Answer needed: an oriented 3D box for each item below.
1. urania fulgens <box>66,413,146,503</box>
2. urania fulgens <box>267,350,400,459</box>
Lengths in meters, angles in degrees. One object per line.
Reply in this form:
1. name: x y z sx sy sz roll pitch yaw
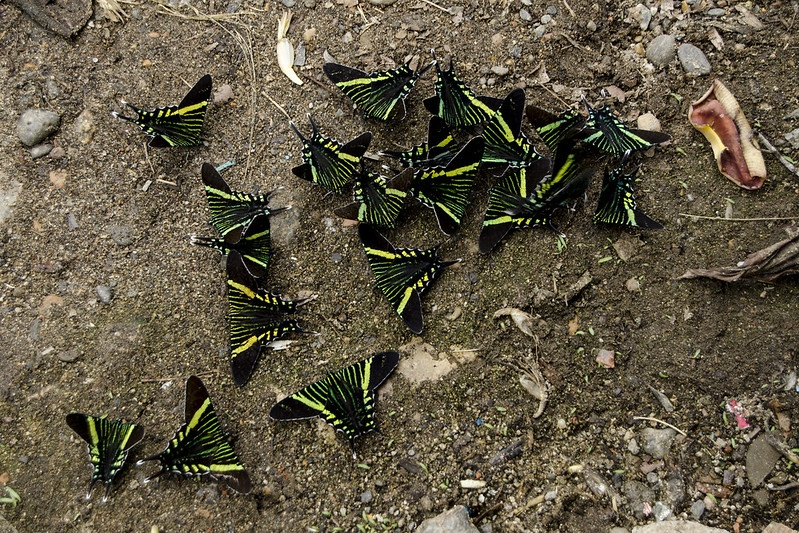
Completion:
1. urania fulgens: -2.346 1.462 6.119 0.619 0.283 0.746 9 79 -6
2. urania fulgens: -0.453 1.111 6.095 1.113 0.187 0.529 -24 83 -1
